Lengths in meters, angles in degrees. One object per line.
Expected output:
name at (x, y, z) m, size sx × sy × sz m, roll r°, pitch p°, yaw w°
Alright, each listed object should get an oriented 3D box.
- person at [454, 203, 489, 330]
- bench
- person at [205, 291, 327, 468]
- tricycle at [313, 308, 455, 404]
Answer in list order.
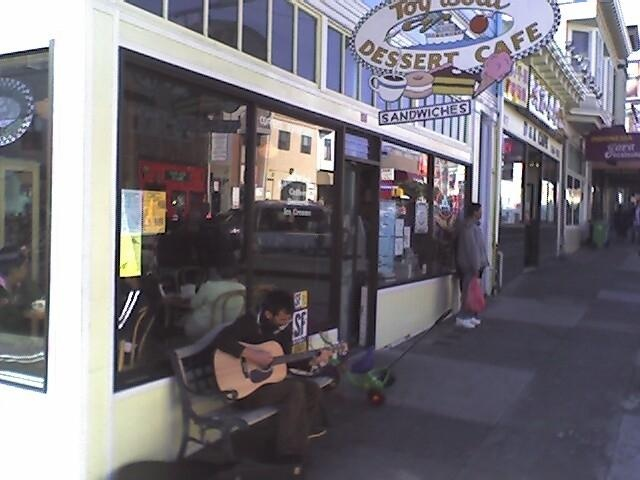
person at (2.506, 0.404, 8.731) m, size 0.451 × 2.109 × 0.719 m, roll 0°, pitch -2°, yaw 10°
bench at (-0.602, 1.270, 4.351) m, size 0.813 × 1.154 × 1.109 m, roll 3°, pitch 4°, yaw 41°
person at (-0.441, 1.055, 4.838) m, size 0.838 × 1.511 × 0.936 m, roll 5°, pitch 3°, yaw 1°
tricycle at (0.794, 1.340, 5.837) m, size 1.652 × 0.610 × 0.230 m, roll -46°, pitch 10°, yaw 38°
